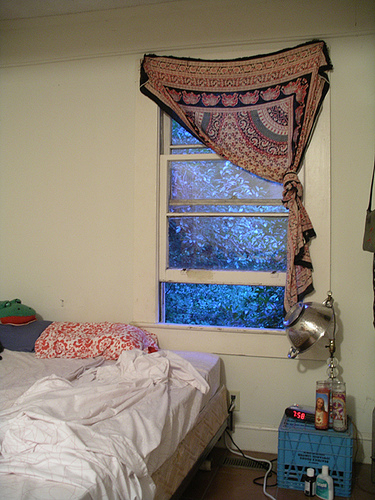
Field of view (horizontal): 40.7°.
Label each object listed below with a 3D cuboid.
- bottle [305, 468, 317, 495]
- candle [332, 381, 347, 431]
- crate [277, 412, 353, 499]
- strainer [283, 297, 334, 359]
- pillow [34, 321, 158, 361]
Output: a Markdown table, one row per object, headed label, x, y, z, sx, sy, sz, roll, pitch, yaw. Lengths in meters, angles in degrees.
| label | x | y | z | sx | sy | sz | roll | pitch | yaw |
| --- | --- | --- | --- | --- | --- | --- | --- | --- | --- |
| bottle | 0.587 | 1.077 | 2.392 | 0.053 | 0.130 | 0.116 | 2 | 2 | 15 |
| candle | 0.750 | 0.761 | 2.494 | 0.079 | 0.208 | 0.188 | 2 | 2 | 17 |
| crate | 0.609 | 0.985 | 2.422 | 0.350 | 0.217 | 0.323 | 0 | 4 | 9 |
| strainer | 0.618 | 0.401 | 2.573 | 0.245 | 0.296 | 0.175 | 2 | 2 | 4 |
| pillow | -0.546 | 0.494 | 2.763 | 0.438 | 0.083 | 0.263 | 2 | 0 | 8 |
